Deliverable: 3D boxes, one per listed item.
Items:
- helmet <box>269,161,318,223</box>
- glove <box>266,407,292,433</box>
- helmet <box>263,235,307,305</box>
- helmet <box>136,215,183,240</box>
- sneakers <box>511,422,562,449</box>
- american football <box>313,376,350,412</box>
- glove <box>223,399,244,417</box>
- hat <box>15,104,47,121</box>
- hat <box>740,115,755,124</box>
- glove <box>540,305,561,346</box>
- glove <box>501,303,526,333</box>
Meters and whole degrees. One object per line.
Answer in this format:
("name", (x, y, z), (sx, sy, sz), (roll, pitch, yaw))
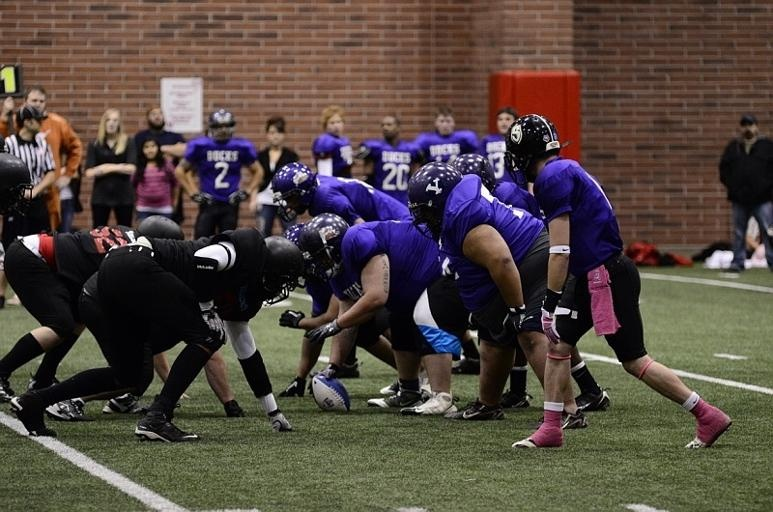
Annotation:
("helmet", (-0.775, -0.600, 11.380), (0.453, 0.458, 0.375), (-31, 15, 7))
("glove", (-0.816, 1.245, 9.976), (0.097, 0.132, 0.272), (-27, -49, 24))
("helmet", (-0.771, 0.112, 9.924), (0.294, 0.526, 0.421), (-2, 4, -5))
("helmet", (-1.732, -0.200, 10.045), (0.272, 0.205, 0.249), (19, 14, 21))
("sneakers", (1.099, 1.342, 9.658), (0.384, 0.248, 0.144), (1, -6, 1))
("american football", (-0.455, 1.116, 10.534), (0.315, 0.193, 0.237), (40, -12, -17))
("glove", (-1.214, 1.217, 10.337), (0.105, 0.164, 0.164), (-39, 5, -27))
("hat", (-3.801, -1.486, 13.730), (0.246, 0.141, 0.185), (-1, -2, 13))
("hat", (4.584, -1.706, 16.505), (0.167, 0.110, 0.174), (-1, 4, 9))
("glove", (1.192, 0.513, 9.564), (0.173, 0.225, 0.080), (19, -10, -10))
("glove", (0.969, 0.459, 9.880), (0.160, 0.112, 0.206), (21, -22, 11))
